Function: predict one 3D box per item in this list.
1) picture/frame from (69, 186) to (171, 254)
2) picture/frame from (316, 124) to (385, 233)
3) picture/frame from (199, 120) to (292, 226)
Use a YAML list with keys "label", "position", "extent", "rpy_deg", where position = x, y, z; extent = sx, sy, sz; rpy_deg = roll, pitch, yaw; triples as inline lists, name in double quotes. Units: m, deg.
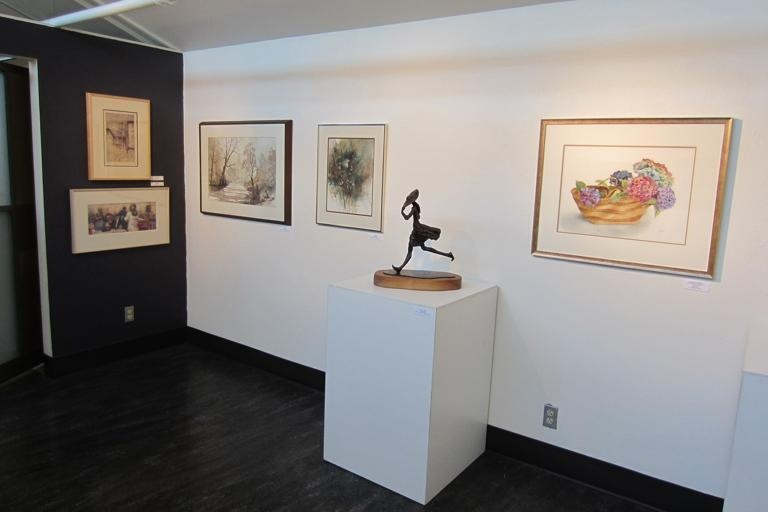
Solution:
- label: "picture/frame"
  position: [-2.959, -0.407, 5.766]
  extent: [0.071, 0.505, 0.708]
  rpy_deg: [14, 19, 42]
- label: "picture/frame"
  position: [-0.301, -0.782, 5.095]
  extent: [0.888, 1.138, 0.077]
  rpy_deg: [12, 17, 33]
- label: "picture/frame"
  position: [-1.578, -0.933, 5.839]
  extent: [0.034, 0.992, 1.167]
  rpy_deg: [11, 12, 35]
